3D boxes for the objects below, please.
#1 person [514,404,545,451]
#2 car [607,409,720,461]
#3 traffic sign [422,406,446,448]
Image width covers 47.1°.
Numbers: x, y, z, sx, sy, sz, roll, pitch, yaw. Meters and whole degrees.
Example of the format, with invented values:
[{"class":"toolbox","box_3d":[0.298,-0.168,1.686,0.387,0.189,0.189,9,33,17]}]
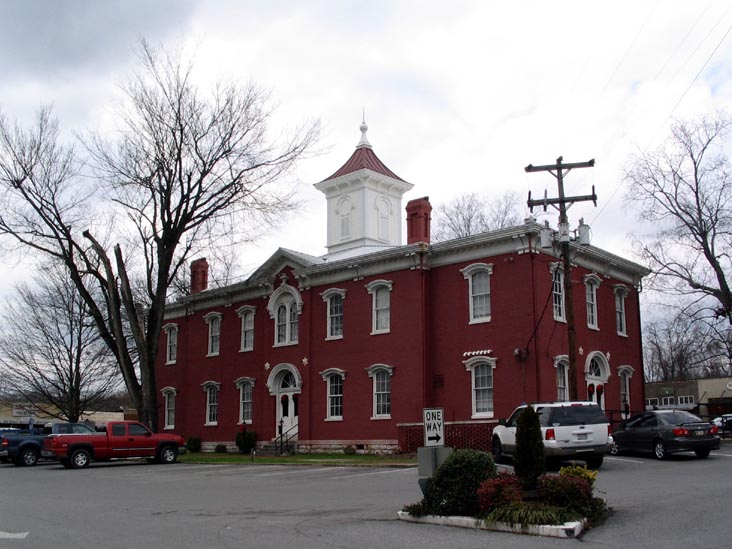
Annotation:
[{"class":"person","box_3d":[3.778,3.591,19.458,0.637,1.131,0.530,-2,-11,-3]},{"class":"car","box_3d":[10.775,5.810,30.458,1.528,1.826,3.417,7,-16,-37]},{"class":"traffic sign","box_3d":[1.591,3.563,19.750,0.449,0.902,0.725,-3,-12,1]}]
